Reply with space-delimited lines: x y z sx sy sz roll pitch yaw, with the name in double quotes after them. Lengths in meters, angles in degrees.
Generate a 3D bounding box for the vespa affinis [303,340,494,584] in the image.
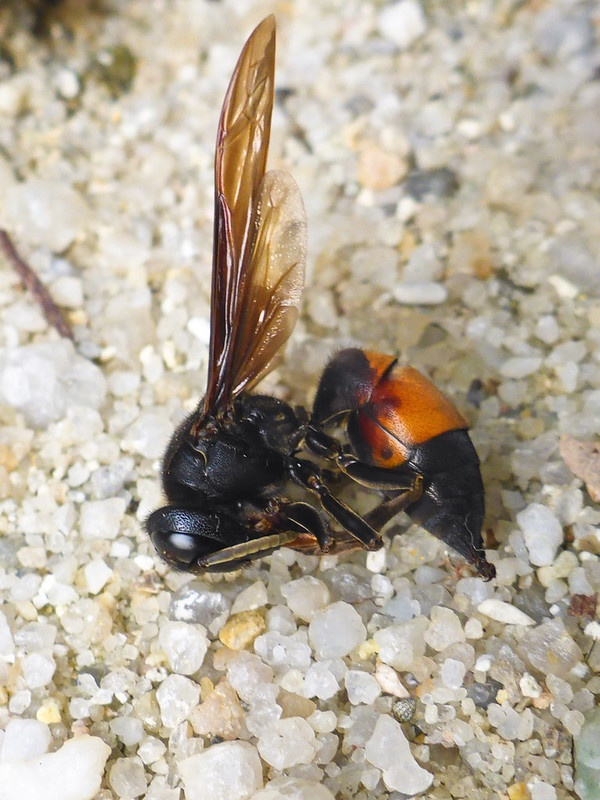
0.222 0.099 1.620 0.225 0.316 0.402 -3 55 -56 "vespa affinis"
